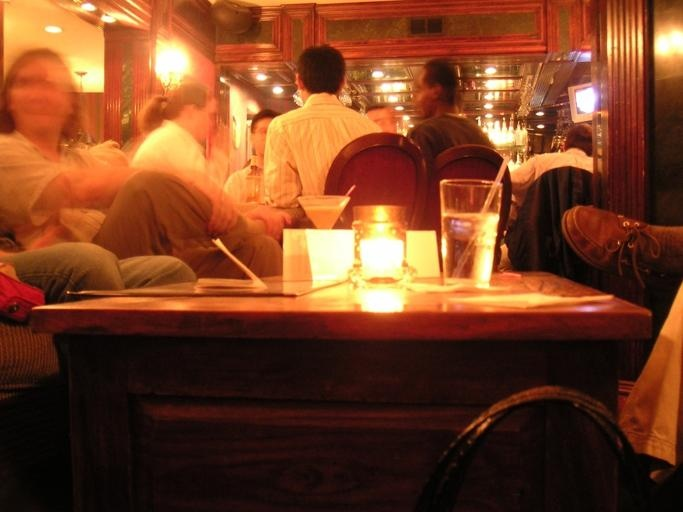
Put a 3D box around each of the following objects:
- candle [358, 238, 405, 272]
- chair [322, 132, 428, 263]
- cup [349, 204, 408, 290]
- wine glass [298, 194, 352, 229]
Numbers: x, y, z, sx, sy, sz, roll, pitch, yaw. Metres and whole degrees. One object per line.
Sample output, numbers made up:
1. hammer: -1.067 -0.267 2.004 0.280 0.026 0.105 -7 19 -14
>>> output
1. candle: 0.089 0.000 1.296 0.119 0.088 0.067 0 -7 -1
2. chair: 0.192 -0.306 2.803 0.473 0.853 0.483 1 28 1
3. cup: 0.088 -0.016 1.323 0.167 0.230 0.160 0 -7 0
4. wine glass: -0.056 -0.138 1.800 0.115 0.087 0.121 -1 1 -4
